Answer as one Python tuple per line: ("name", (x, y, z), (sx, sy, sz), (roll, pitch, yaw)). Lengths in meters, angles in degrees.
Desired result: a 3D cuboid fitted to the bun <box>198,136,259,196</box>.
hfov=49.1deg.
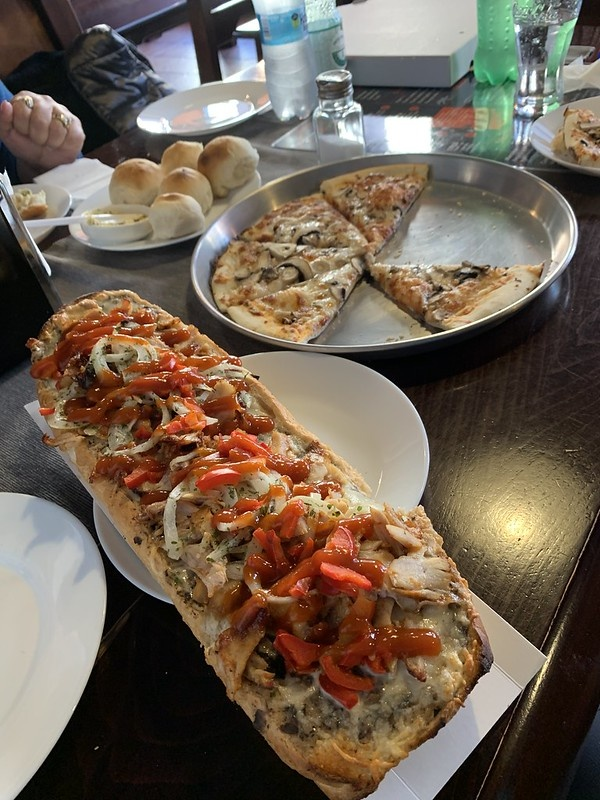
("bun", (-0.250, -0.825, 2.347), (0.180, 0.209, 0.227), (12, 26, 33))
